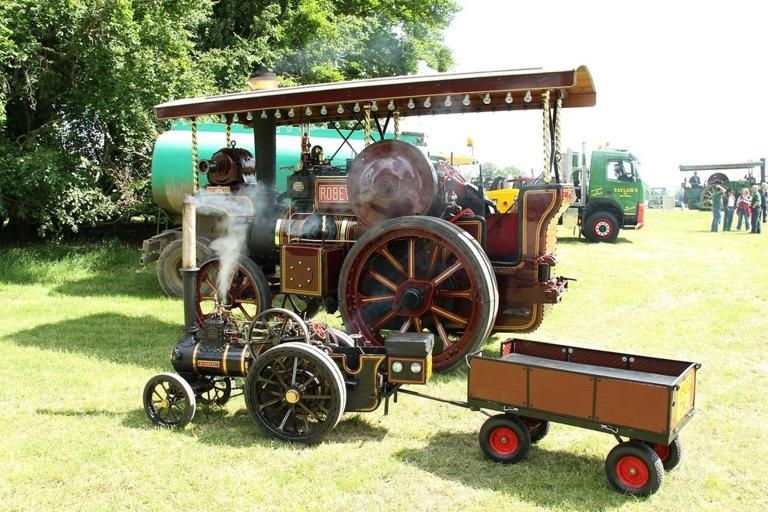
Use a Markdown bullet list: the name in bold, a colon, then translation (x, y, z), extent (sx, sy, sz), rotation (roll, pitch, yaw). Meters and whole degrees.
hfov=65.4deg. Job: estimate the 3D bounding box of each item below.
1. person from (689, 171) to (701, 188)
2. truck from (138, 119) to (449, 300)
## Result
- **person**: translation (15.828, -3.845, 30.449), extent (0.475, 0.710, 1.161), rotation (7, 16, 26)
- **truck**: translation (-3.140, -1.231, 13.699), extent (4.575, 3.539, 3.915), rotation (-1, 14, -3)
